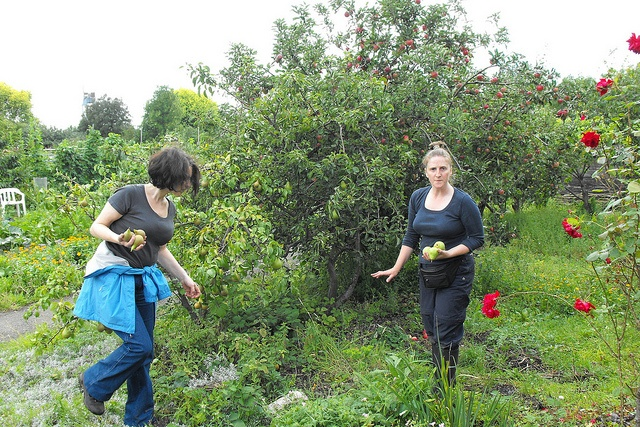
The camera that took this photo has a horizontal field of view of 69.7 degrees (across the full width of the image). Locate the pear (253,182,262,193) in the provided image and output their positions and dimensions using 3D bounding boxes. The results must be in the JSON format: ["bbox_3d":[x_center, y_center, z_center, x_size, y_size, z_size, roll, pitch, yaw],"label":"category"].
[{"bbox_3d":[-0.846,-0.351,6.176,0.056,0.113,0.111,3,27,-15],"label":"pear"}]

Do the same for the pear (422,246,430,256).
[{"bbox_3d":[1.174,0.418,5.106,0.080,0.097,0.082,-5,-46,17],"label":"pear"}]

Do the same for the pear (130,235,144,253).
[{"bbox_3d":[-1.910,0.323,4.773,0.163,0.077,0.097,-24,-49,7],"label":"pear"}]

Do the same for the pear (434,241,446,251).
[{"bbox_3d":[1.327,0.358,5.104,0.107,0.095,0.092,36,-16,37],"label":"pear"}]

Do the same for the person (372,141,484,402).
[{"bbox_3d":[1.333,0.544,5.205,0.880,2.734,0.466,3,2,34],"label":"person"}]

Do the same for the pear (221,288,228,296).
[{"bbox_3d":[-1.203,0.992,5.769,0.076,0.058,0.087,5,15,17],"label":"pear"}]

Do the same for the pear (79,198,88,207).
[{"bbox_3d":[-3.205,-0.143,6.198,0.093,0.058,0.106,0,-12,-18],"label":"pear"}]

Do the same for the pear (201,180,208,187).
[{"bbox_3d":[-1.615,-0.412,6.374,0.074,0.056,0.083,0,3,13],"label":"pear"}]

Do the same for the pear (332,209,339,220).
[{"bbox_3d":[0.195,0.004,6.141,0.066,0.091,0.183,16,-8,9],"label":"pear"}]

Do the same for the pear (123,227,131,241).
[{"bbox_3d":[-1.979,0.214,4.752,0.103,0.143,0.105,10,12,-22],"label":"pear"}]

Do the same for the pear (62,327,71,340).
[{"bbox_3d":[-3.083,1.451,5.588,0.101,0.141,0.156,1,1,-28],"label":"pear"}]

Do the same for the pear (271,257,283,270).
[{"bbox_3d":[-0.525,0.641,5.679,0.120,0.120,0.161,22,-21,9],"label":"pear"}]

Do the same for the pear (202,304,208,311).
[{"bbox_3d":[-1.469,1.194,5.838,0.083,0.061,0.074,-5,-3,44],"label":"pear"}]

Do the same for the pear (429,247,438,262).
[{"bbox_3d":[1.232,0.454,5.015,0.085,0.112,0.084,32,-4,-12],"label":"pear"}]

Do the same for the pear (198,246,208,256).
[{"bbox_3d":[-1.434,0.459,5.607,0.096,0.093,0.127,-5,-15,-8],"label":"pear"}]

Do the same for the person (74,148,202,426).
[{"bbox_3d":[-2.024,0.806,5.047,1.195,3.070,0.570,1,2,-28],"label":"person"}]

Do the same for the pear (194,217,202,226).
[{"bbox_3d":[-1.626,0.091,6.069,0.077,0.060,0.089,12,-1,18],"label":"pear"}]

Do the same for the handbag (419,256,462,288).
[{"bbox_3d":[1.321,0.660,5.107,0.319,0.244,0.410,-13,-14,32],"label":"handbag"}]
